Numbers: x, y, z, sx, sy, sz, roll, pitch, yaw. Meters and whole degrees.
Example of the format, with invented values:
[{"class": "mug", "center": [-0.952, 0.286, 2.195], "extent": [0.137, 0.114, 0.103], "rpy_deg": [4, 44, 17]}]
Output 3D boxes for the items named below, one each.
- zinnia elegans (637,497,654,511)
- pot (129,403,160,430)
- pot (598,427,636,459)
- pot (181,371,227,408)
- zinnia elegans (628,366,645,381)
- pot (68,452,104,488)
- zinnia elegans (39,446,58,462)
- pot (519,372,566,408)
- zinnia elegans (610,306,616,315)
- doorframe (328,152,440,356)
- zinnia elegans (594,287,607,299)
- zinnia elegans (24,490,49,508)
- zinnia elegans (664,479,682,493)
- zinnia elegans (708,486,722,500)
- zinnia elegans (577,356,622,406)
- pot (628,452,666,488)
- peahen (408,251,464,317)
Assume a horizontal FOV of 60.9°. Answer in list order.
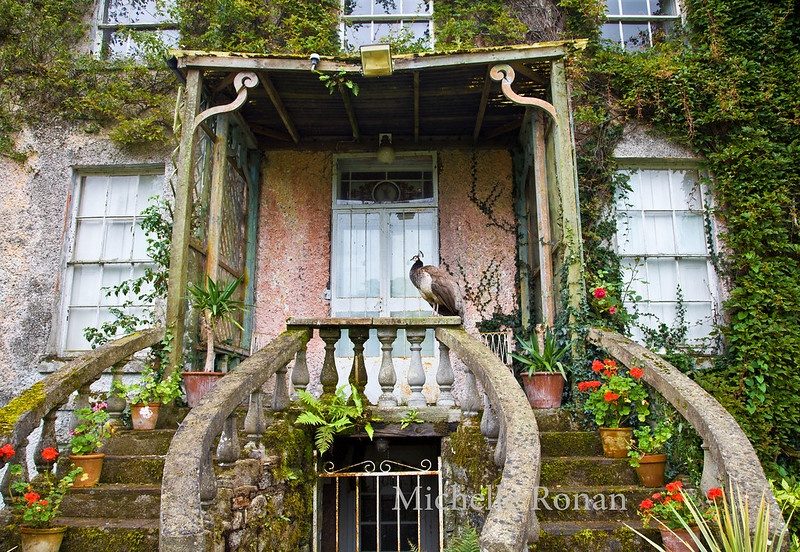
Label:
[{"class": "zinnia elegans", "center": [2.000, 1.850, 5.519], "extent": [0.106, 0.113, 0.205], "rpy_deg": [-3, -8, 16]}, {"class": "pot", "center": [-2.504, 1.359, 6.674], "extent": [0.246, 0.193, 0.249], "rpy_deg": [0, -15, 0]}, {"class": "pot", "center": [1.992, 1.524, 6.279], "extent": [0.260, 0.201, 0.256], "rpy_deg": [1, -15, 0]}, {"class": "pot", "center": [-2.050, 1.127, 6.864], "extent": [0.468, 0.358, 0.241], "rpy_deg": [-3, -8, 17]}, {"class": "zinnia elegans", "center": [2.180, 0.884, 6.310], "extent": [0.099, 0.108, 0.105], "rpy_deg": [4, -13, -21]}, {"class": "pot", "center": [-2.854, 1.742, 6.185], "extent": [0.322, 0.279, 0.333], "rpy_deg": [-2, -8, 0]}, {"class": "zinnia elegans", "center": [-3.039, 1.524, 5.871], "extent": [0.121, 0.127, 0.123], "rpy_deg": [15, -4, 10]}, {"class": "pot", "center": [1.468, 1.156, 6.991], "extent": [0.494, 0.374, 0.487], "rpy_deg": [-1, -9, 0]}, {"class": "zinnia elegans", "center": [2.180, 0.341, 7.007], "extent": [0.066, 0.069, 0.052], "rpy_deg": [4, -7, 9]}, {"class": "doorframe", "center": [-0.221, -0.291, 8.981], "extent": [1.369, 2.682, 0.368], "rpy_deg": [-1, 21, -3]}, {"class": "zinnia elegans", "center": [2.052, 0.168, 6.994], "extent": [0.138, 0.111, 0.083], "rpy_deg": [-1, -8, 4]}, {"class": "zinnia elegans", "center": [-2.916, 1.770, 5.471], "extent": [0.137, 0.096, 0.124], "rpy_deg": [-1, 3, -3]}, {"class": "zinnia elegans", "center": [2.191, 1.669, 5.442], "extent": [0.128, 0.056, 0.130], "rpy_deg": [-7, -4, 9]}, {"class": "zinnia elegans", "center": [2.433, 1.675, 5.275], "extent": [0.123, 0.059, 0.126], "rpy_deg": [-9, -14, 16]}, {"class": "zinnia elegans", "center": [1.891, 0.968, 6.588], "extent": [0.453, 0.471, 0.373], "rpy_deg": [7, 6, 40]}, {"class": "pot", "center": [2.225, 1.741, 6.131], "extent": [0.270, 0.217, 0.274], "rpy_deg": [1, -13, 0]}, {"class": "peahen", "center": [0.439, 0.115, 7.858], "extent": [0.816, 0.972, 0.473], "rpy_deg": [-2, -18, 5]}]
